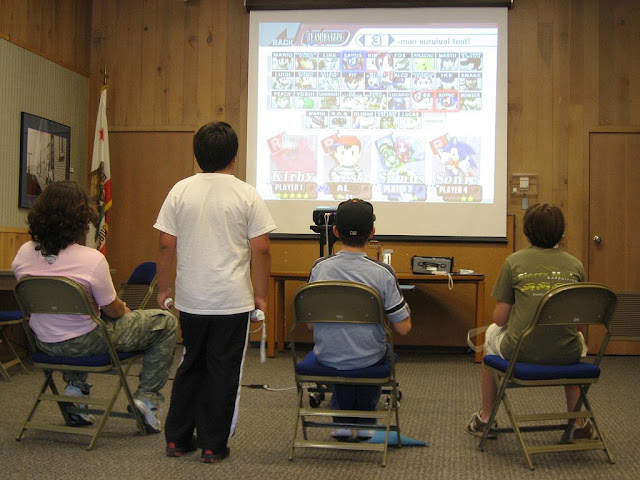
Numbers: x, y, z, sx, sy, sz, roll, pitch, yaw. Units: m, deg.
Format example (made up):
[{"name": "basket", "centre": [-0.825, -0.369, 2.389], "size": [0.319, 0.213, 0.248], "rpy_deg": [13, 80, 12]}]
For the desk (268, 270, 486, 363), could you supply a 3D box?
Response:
[{"name": "desk", "centre": [0.578, 0.762, 6.398], "size": [2.191, 1.211, 0.762], "rpy_deg": [1, 15, 7]}]

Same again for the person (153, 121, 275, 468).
[{"name": "person", "centre": [-0.643, 0.306, 3.635], "size": [0.746, 2.024, 0.543], "rpy_deg": [-5, 11, -18]}]

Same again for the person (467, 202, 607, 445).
[{"name": "person", "centre": [1.444, 0.797, 3.753], "size": [0.545, 1.168, 0.789], "rpy_deg": [0, 2, -5]}]

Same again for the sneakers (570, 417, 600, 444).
[{"name": "sneakers", "centre": [1.714, 1.237, 3.804], "size": [0.079, 0.121, 0.261], "rpy_deg": [0, -1, 9]}]

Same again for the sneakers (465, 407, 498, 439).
[{"name": "sneakers", "centre": [1.075, 1.251, 3.997], "size": [0.102, 0.125, 0.266], "rpy_deg": [1, -3, 4]}]

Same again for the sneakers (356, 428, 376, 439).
[{"name": "sneakers", "centre": [0.291, 1.271, 3.826], "size": [0.131, 0.079, 0.087], "rpy_deg": [3, -6, -12]}]

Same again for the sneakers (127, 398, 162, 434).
[{"name": "sneakers", "centre": [-1.184, 1.132, 3.935], "size": [0.101, 0.313, 0.135], "rpy_deg": [-4, 14, 38]}]

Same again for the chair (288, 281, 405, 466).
[{"name": "chair", "centre": [0.151, 0.792, 3.799], "size": [0.717, 1.236, 0.726], "rpy_deg": [0, 11, 7]}]

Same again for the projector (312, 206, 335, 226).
[{"name": "projector", "centre": [0.038, -0.247, 5.853], "size": [0.201, 0.167, 0.161], "rpy_deg": [-1, -3, 3]}]
